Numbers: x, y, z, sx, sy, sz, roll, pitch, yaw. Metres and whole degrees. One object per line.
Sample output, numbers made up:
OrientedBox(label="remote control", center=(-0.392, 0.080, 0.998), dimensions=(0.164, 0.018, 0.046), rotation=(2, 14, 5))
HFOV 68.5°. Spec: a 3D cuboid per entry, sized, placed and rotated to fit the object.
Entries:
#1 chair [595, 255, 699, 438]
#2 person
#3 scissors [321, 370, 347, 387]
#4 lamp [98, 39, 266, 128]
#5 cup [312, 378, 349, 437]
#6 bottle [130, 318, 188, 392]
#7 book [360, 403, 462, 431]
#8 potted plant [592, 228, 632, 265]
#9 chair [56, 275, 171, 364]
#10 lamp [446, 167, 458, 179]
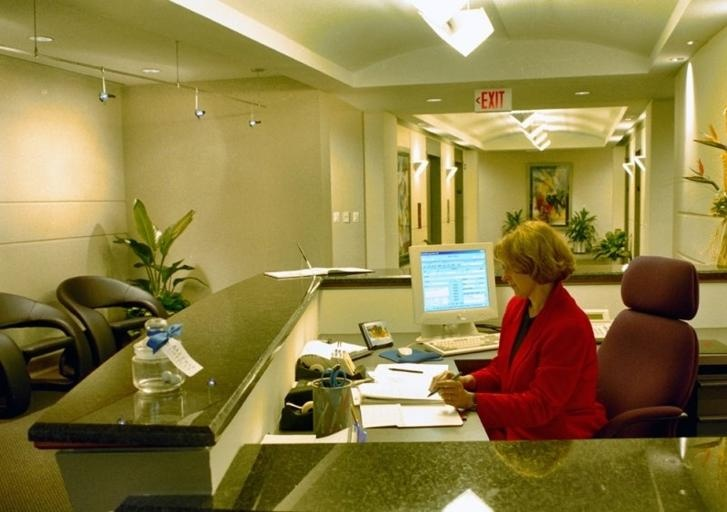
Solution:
OrientedBox(label="chair", center=(1.245, 0.375, 2.373), dimensions=(0.412, 0.727, 0.278), rotation=(3, 5, 43))
OrientedBox(label="person", center=(0.672, 0.308, 2.221), dimensions=(0.608, 0.900, 0.539), rotation=(2, 4, 30))
OrientedBox(label="scissors", center=(-0.104, 0.439, 1.896), dimensions=(0.059, 0.030, 0.079), rotation=(0, 2, -1))
OrientedBox(label="lamp", center=(-1.951, -1.860, 5.561), dimensions=(1.248, 0.564, 1.237), rotation=(22, 34, -3))
OrientedBox(label="cup", center=(-0.105, 0.531, 1.897), dimensions=(0.160, 0.170, 0.150), rotation=(-1, 2, 0))
OrientedBox(label="bottle", center=(-0.571, 0.266, 1.456), dimensions=(0.192, 0.187, 0.131), rotation=(3, 5, 34))
OrientedBox(label="book", center=(0.187, 0.637, 2.126), dimensions=(0.390, 0.023, 0.224), rotation=(0, 4, -3))
OrientedBox(label="potted plant", center=(5.672, -0.190, 12.176), dimensions=(1.032, 0.709, 0.996), rotation=(-9, 8, -43))
OrientedBox(label="chair", center=(-2.277, 0.405, 4.905), dimensions=(0.831, 0.907, 0.964), rotation=(-3, 3, 25))
OrientedBox(label="lamp", center=(2.139, -2.037, 12.849), dimensions=(0.166, 0.330, 0.701), rotation=(1, 4, 14))
